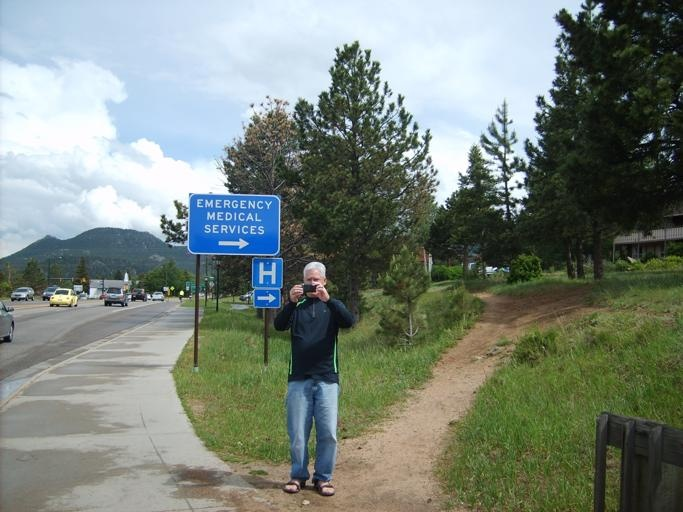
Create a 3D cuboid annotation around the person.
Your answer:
[{"bbox_3d":[-0.385,1.731,7.833,0.907,2.482,0.500,2,1,-3],"label":"person"}]

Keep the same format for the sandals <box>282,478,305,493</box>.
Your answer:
[{"bbox_3d":[-0.631,3.220,7.761,0.352,0.128,0.185,3,-1,-27],"label":"sandals"}]

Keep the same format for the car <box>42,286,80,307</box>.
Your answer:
[{"bbox_3d":[-25.242,3.850,50.246,1.751,1.362,3.189,2,-1,-17],"label":"car"}]
